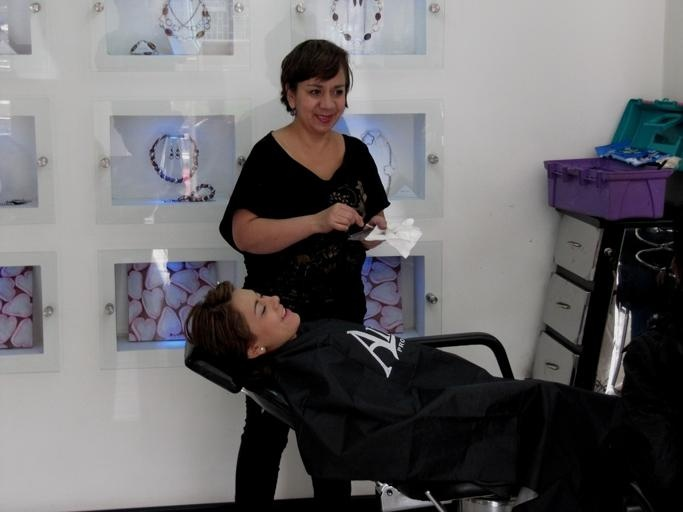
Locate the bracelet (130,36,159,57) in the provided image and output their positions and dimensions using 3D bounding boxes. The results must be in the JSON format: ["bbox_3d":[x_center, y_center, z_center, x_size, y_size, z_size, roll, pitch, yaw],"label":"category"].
[{"bbox_3d":[-0.845,-0.889,2.665,0.110,0.069,0.046,-3,6,-14],"label":"bracelet"}]

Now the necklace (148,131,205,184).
[{"bbox_3d":[-0.735,-0.431,2.752,0.198,0.217,0.069,3,2,-3],"label":"necklace"}]

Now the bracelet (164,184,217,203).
[{"bbox_3d":[-0.652,-0.261,2.762,0.141,0.033,0.094,-14,36,5],"label":"bracelet"}]
